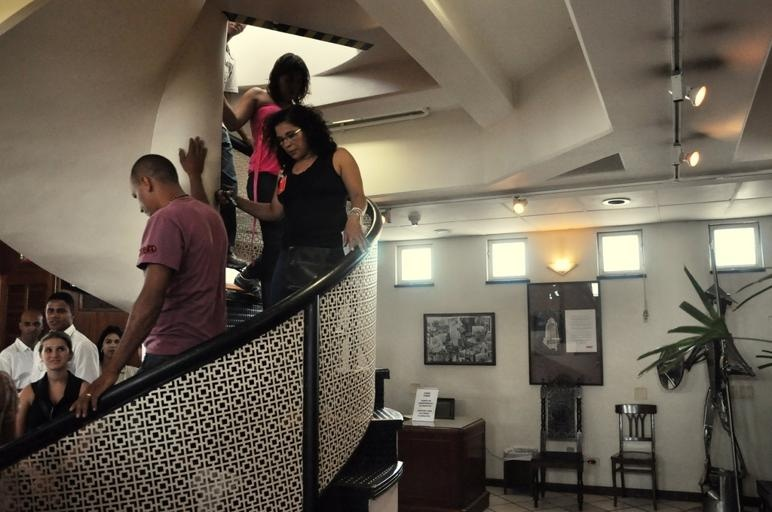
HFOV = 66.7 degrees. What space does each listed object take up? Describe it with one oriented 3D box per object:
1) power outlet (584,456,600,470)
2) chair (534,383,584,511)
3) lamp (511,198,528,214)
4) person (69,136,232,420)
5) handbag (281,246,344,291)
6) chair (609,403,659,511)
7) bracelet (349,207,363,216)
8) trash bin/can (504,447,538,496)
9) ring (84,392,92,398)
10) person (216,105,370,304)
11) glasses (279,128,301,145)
[{"bbox_3d":[3.080,3.098,8.793,0.180,0.116,0.182,-5,-7,-5],"label":"power outlet"},{"bbox_3d":[2.562,2.761,8.721,0.685,1.708,0.844,-1,-7,20],"label":"chair"},{"bbox_3d":[1.703,-0.647,7.591,0.203,0.195,0.094,-2,5,-15],"label":"lamp"},{"bbox_3d":[-1.255,0.118,3.321,0.704,1.511,0.582,4,-7,-14],"label":"person"},{"bbox_3d":[-0.484,0.091,3.775,0.412,0.308,0.162,1,-7,3],"label":"handbag"},{"bbox_3d":[3.571,2.856,8.445,0.640,1.400,0.771,-1,-8,23],"label":"chair"},{"bbox_3d":[-0.198,-0.279,3.747,0.094,0.061,0.075,-1,-8,18],"label":"bracelet"},{"bbox_3d":[2.111,3.354,9.370,0.511,0.745,0.493,-3,7,5],"label":"trash bin/can"},{"bbox_3d":[-1.525,0.717,3.010,0.027,0.020,0.026,1,-5,0],"label":"ring"},{"bbox_3d":[-0.525,-0.084,3.841,0.914,1.740,0.510,-4,-9,13],"label":"person"},{"bbox_3d":[-0.618,-0.778,3.787,0.149,0.090,0.045,-2,-8,28],"label":"glasses"}]
